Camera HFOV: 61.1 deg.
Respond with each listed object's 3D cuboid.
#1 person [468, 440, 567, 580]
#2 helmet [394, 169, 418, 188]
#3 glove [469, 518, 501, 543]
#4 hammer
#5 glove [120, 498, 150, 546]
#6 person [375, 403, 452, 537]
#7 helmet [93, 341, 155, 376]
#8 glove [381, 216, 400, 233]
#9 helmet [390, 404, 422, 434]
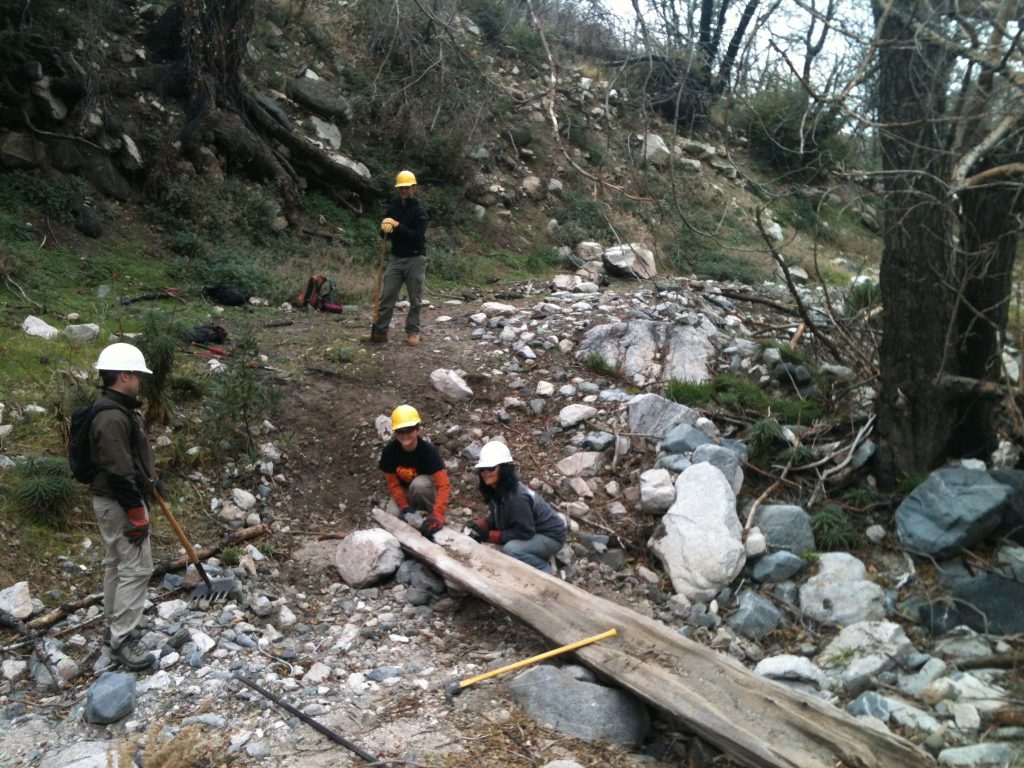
[{"bbox_3d":[-0.004,1.140,8.620,1.179,1.384,0.949,1,5,-4],"label":"person"},{"bbox_3d":[-1.318,-2.533,10.770,0.194,0.211,0.471,3,21,-12],"label":"helmet"},{"bbox_3d":[-0.241,1.424,8.298,0.252,0.200,0.076,13,59,45],"label":"glove"},{"bbox_3d":[0.222,2.282,7.049,1.491,0.106,0.159,-11,34,-30],"label":"hammer"},{"bbox_3d":[-3.000,1.118,6.949,0.104,0.316,0.226,9,11,31],"label":"glove"},{"bbox_3d":[-0.935,0.853,8.496,0.657,1.251,0.583,1,8,-22],"label":"person"},{"bbox_3d":[-3.141,-0.177,7.058,0.399,0.219,0.289,0,9,-35],"label":"helmet"},{"bbox_3d":[-1.481,-1.934,10.594,0.165,0.095,0.214,1,-4,13],"label":"glove"},{"bbox_3d":[-1.015,0.367,8.308,0.248,0.297,0.300,3,21,-11],"label":"helmet"}]
